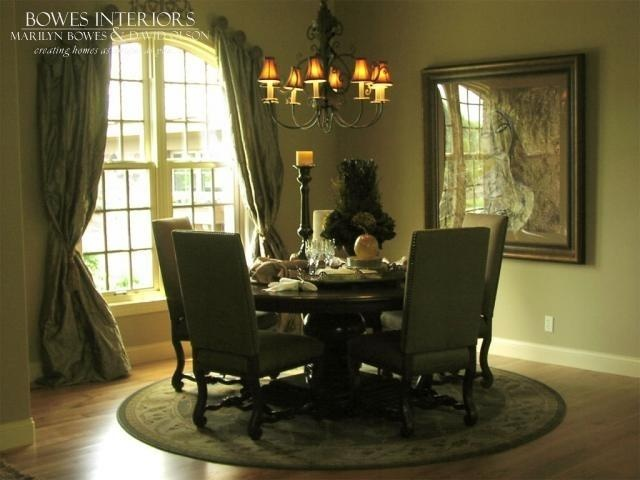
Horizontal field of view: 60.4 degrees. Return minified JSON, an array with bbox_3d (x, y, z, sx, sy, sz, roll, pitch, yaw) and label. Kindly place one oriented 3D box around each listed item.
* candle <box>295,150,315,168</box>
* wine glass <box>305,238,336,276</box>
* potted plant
[{"bbox_3d":[-0.117,-0.616,4.262,0.164,0.161,0.166,2,-2,-7],"label":"candle"},{"bbox_3d":[-0.005,0.113,3.913,0.221,0.339,0.233,1,-4,-1],"label":"wine glass"},{"bbox_3d":[0.265,-0.225,4.067,0.506,0.732,0.315,-3,9,-15],"label":"potted plant"}]
